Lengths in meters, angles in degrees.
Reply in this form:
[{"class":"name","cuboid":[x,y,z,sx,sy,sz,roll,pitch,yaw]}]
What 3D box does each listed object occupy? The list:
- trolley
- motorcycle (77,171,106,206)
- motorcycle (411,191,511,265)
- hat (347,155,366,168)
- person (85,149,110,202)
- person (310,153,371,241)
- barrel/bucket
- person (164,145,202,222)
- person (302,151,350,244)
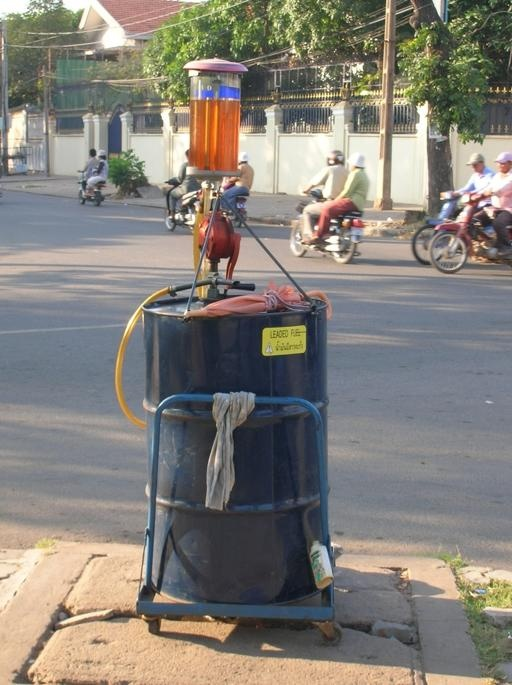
[{"class":"trolley","cuboid":[-0.062,0.574,3.437,0.620,0.828,0.401,1,12,0]},{"class":"motorcycle","cuboid":[-3.991,-3.742,26.329,0.523,0.708,0.998,-1,12,-22]},{"class":"motorcycle","cuboid":[2.305,-1.526,13.492,0.988,0.719,0.486,-11,21,-29]},{"class":"hat","cuboid":[1.244,-2.301,13.515,0.186,0.183,0.313,1,9,1]},{"class":"person","cuboid":[-3.896,-4.119,26.278,0.583,0.832,1.231,0,26,-7]},{"class":"person","cuboid":[1.046,-1.843,13.717,0.668,1.164,0.494,3,9,12]},{"class":"barrel/bucket","cuboid":[-0.079,0.319,3.675,0.598,0.989,0.598,1,11,0]},{"class":"person","cuboid":[-1.241,-2.594,18.107,0.498,1.098,1.891,0,9,-7]},{"class":"person","cuboid":[0.866,-2.088,14.397,0.631,0.802,1.168,-3,17,-8]}]
